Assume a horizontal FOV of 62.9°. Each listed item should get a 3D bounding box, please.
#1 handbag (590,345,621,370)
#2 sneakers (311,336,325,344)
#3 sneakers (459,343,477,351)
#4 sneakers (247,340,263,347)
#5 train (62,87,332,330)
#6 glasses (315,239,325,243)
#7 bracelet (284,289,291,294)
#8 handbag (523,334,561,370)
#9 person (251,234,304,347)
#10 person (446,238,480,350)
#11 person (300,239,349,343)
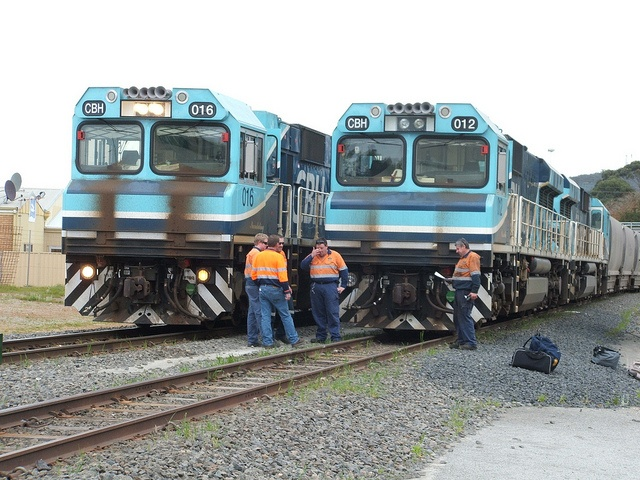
[{"bbox_3d":[5.904,2.417,10.793,0.463,0.334,0.431,1,0,29],"label":"handbag"},{"bbox_3d":[-0.083,2.207,11.484,0.355,0.188,0.127,7,-3,30],"label":"sneakers"},{"bbox_3d":[3.119,2.246,11.062,0.362,0.181,0.138,8,-6,-26],"label":"sneakers"},{"bbox_3d":[-1.393,2.184,11.066,0.329,0.156,0.118,-1,0,4],"label":"sneakers"},{"bbox_3d":[-2.699,-0.681,11.750,5.545,5.194,2.467,4,-3,-30],"label":"train"},{"bbox_3d":[0.009,0.024,10.910,0.111,0.091,0.116,1,-6,9],"label":"glasses"},{"bbox_3d":[-0.697,1.036,10.545,0.130,0.100,0.149,3,-2,-5],"label":"bracelet"},{"bbox_3d":[4.172,2.148,9.911,0.638,0.697,0.653,10,-19,6],"label":"handbag"},{"bbox_3d":[-0.957,1.043,10.690,0.965,2.309,0.635,3,-2,-9],"label":"person"},{"bbox_3d":[2.976,1.129,10.855,0.582,2.332,0.829,2,-2,14],"label":"person"},{"bbox_3d":[0.069,1.112,11.233,0.934,2.233,0.882,3,-2,-16],"label":"person"}]
